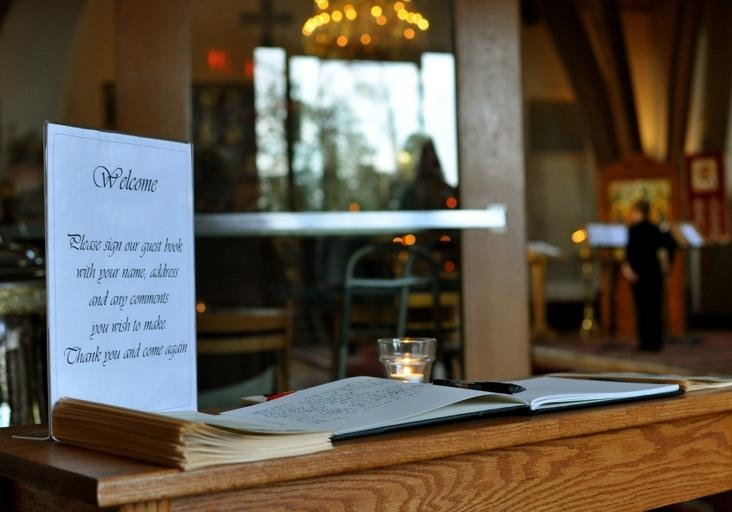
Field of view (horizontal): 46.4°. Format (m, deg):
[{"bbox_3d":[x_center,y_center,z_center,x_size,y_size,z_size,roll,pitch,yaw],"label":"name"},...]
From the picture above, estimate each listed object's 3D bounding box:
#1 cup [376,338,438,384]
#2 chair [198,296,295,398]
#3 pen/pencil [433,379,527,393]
[{"bbox_3d":[0.091,0.230,1.837,0.099,0.081,0.092,1,-8,0],"label":"cup"},{"bbox_3d":[-0.441,0.315,3.184,0.333,0.285,0.308,1,1,-11],"label":"chair"},{"bbox_3d":[0.231,0.263,1.745,0.186,0.023,0.017,6,-10,11],"label":"pen/pencil"}]
